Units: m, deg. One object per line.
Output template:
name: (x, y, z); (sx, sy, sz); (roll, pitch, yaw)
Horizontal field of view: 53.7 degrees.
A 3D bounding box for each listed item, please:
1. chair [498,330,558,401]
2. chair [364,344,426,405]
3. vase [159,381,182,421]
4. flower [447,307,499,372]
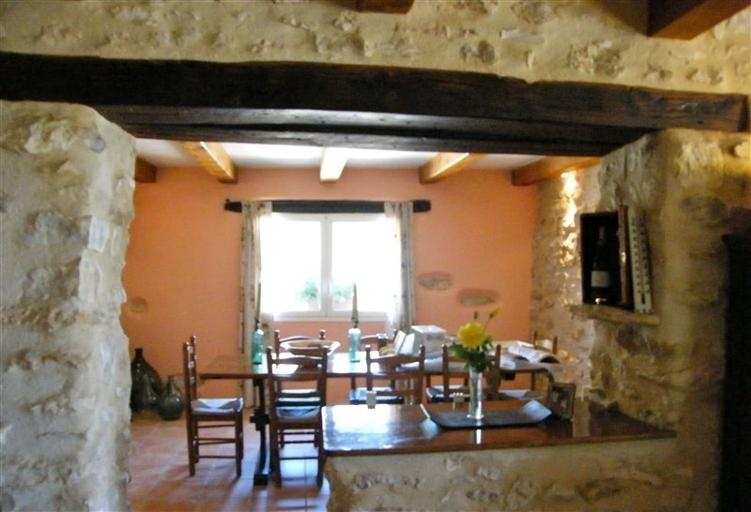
chair: (1.152, 0.858, 5.650); (0.425, 0.451, 0.639); (2, 3, -14)
chair: (0.180, 0.787, 5.176); (0.305, 0.487, 0.311); (6, -18, -13)
vase: (-1.766, 1.240, 6.404); (0.222, 0.364, 0.136); (-5, 7, -32)
flower: (0.532, 0.463, 4.002); (0.247, 0.366, 0.256); (-1, 6, 9)
